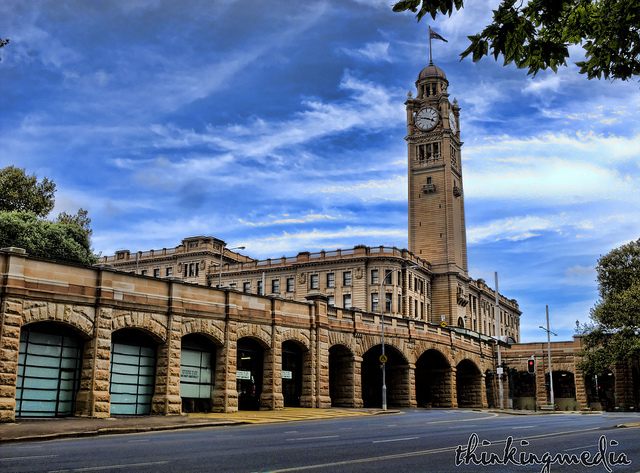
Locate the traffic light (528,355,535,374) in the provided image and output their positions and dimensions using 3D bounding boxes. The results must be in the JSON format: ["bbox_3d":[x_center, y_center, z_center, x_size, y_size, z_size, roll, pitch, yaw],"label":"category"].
[{"bbox_3d":[17.403,10.699,66.261,0.492,1.255,1.780,-5,-16,11],"label":"traffic light"}]

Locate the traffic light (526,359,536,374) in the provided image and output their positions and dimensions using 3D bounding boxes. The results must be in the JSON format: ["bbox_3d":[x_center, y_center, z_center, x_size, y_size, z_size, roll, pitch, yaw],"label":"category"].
[{"bbox_3d":[17.367,10.695,66.098,0.498,1.179,1.458,-5,-16,11],"label":"traffic light"}]
